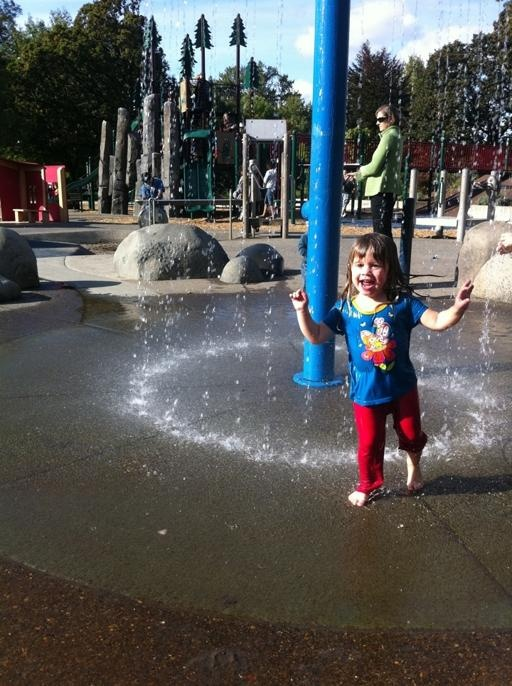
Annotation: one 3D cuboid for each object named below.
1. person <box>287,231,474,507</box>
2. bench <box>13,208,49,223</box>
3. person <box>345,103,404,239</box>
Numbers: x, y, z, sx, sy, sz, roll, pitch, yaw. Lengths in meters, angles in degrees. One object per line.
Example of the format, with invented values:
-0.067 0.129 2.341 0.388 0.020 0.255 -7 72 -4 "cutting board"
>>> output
0.484 0.098 2.258 0.585 1.083 0.307 -1 26 17 "person"
-7.153 -4.085 19.155 1.689 0.404 0.961 11 16 40 "bench"
1.268 -1.775 6.205 0.468 1.285 0.394 2 11 6 "person"
